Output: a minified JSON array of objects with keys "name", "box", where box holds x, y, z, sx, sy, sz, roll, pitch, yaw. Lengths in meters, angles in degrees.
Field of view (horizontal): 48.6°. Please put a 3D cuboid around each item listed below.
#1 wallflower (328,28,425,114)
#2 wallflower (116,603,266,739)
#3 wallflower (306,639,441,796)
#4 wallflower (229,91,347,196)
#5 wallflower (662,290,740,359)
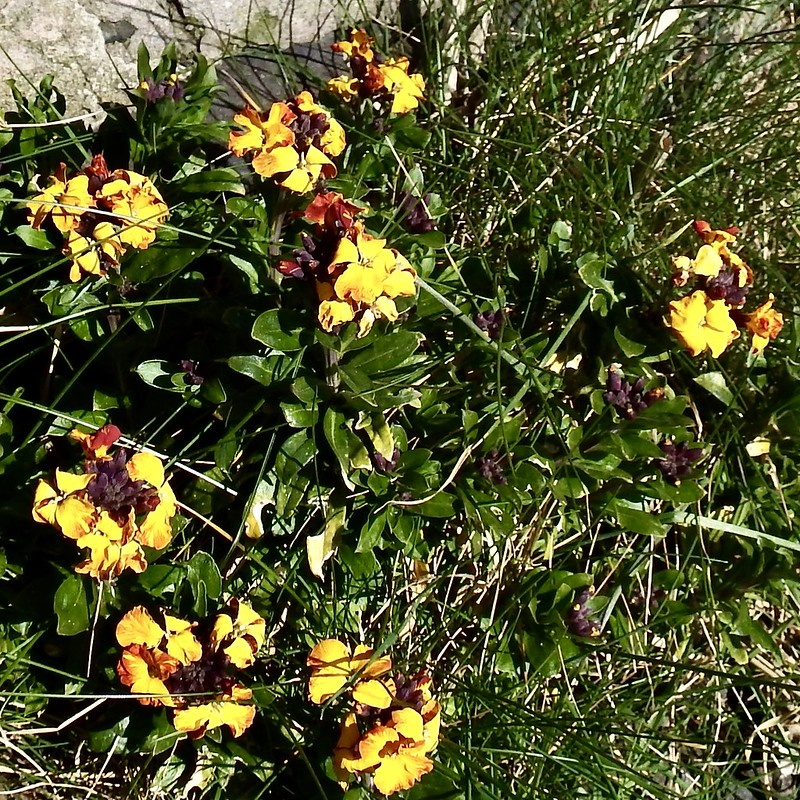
[{"name":"wallflower","box":[-0.071,-0.871,2.383,0.320,0.127,0.242,-9,80,-15]},{"name":"wallflower","box":[-0.444,0.543,1.820,0.298,0.188,0.242,9,42,-25]},{"name":"wallflower","box":[-0.076,0.642,1.936,0.390,0.164,0.294,-8,82,-14]},{"name":"wallflower","box":[-0.245,-0.578,1.950,0.247,0.143,0.267,17,37,-14]},{"name":"wallflower","box":[0.685,-0.173,2.017,0.166,0.054,0.159,40,89,-8]}]
